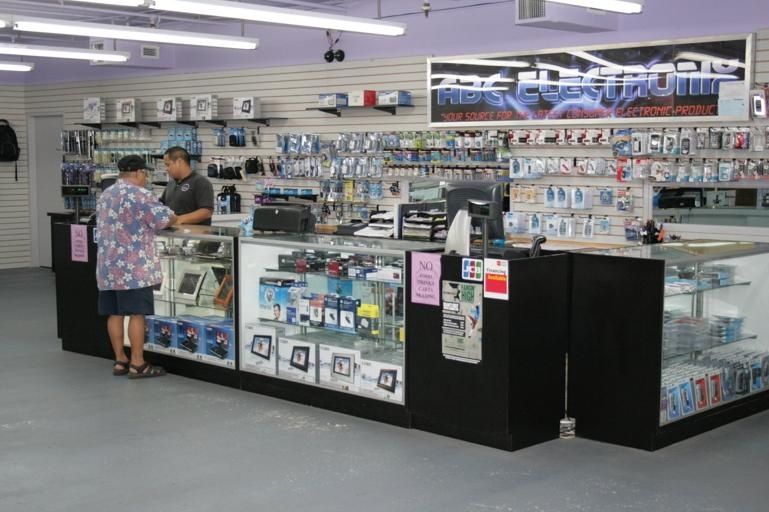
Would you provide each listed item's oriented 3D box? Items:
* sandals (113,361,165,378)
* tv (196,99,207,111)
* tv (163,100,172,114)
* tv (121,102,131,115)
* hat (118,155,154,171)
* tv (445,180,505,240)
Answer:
[{"bbox_3d":[-2.604,1.173,6.310,0.390,0.112,0.206,0,4,-26],"label":"sandals"},{"bbox_3d":[-3.262,-2.699,10.748,0.224,0.205,0.033,4,10,26],"label":"tv"},{"bbox_3d":[-4.025,-2.762,11.166,0.209,0.229,0.085,2,0,25],"label":"tv"},{"bbox_3d":[-5.064,-2.891,11.795,0.218,0.191,0.050,4,4,24],"label":"tv"},{"bbox_3d":[-2.585,-0.955,6.326,0.314,0.146,0.406,6,9,26],"label":"hat"},{"bbox_3d":[0.827,-0.424,5.432,0.577,0.486,0.222,4,15,36],"label":"tv"}]
